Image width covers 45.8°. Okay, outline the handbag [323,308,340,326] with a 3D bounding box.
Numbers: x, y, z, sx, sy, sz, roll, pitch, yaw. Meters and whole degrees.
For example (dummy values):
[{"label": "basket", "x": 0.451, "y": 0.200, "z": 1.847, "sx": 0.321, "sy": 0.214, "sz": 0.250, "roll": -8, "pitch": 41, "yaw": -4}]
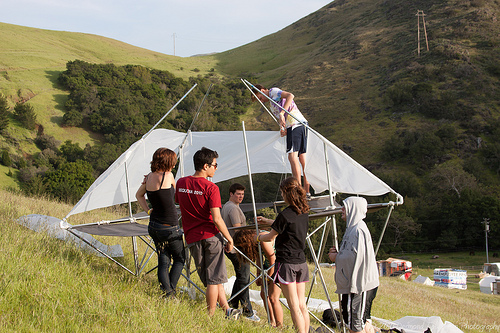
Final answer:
[{"label": "handbag", "x": 8.049, "y": 15.442, "z": 59.889, "sx": 1.320, "sy": 1.908, "sz": 0.715, "roll": -2, "pitch": -2, "yaw": 26}]
